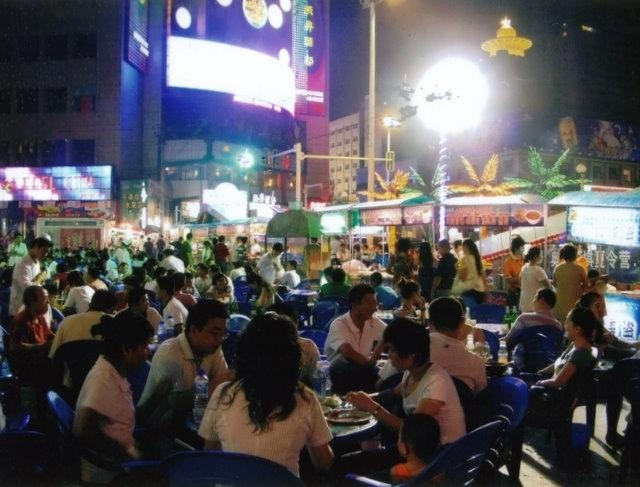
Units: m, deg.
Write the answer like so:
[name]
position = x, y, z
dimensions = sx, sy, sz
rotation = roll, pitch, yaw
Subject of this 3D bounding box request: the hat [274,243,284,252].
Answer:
[hat]
position = -1.145, 0.112, 16.585
dimensions = 0.229, 0.206, 0.189
rotation = 5, 11, 17
